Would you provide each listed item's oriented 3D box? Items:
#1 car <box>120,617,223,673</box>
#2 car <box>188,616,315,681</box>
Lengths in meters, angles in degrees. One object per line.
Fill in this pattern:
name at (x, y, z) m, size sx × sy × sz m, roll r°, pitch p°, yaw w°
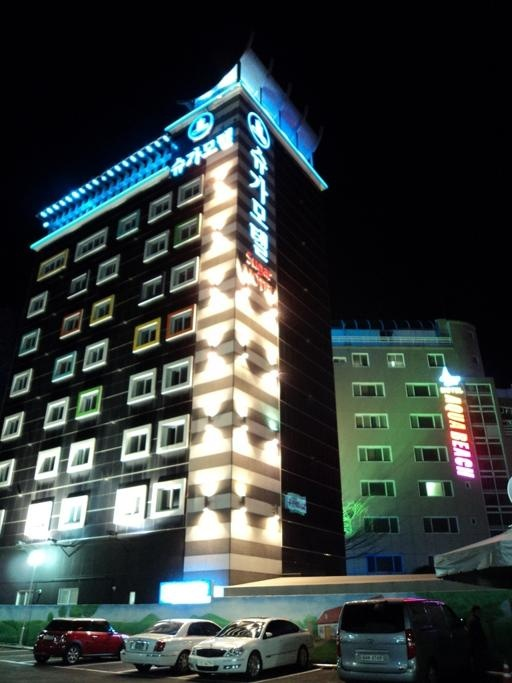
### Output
car at (-2.544, 10.110, 18.057) m, size 1.455 × 1.195 × 3.608 m, roll -12°, pitch -23°, yaw 26°
car at (0.070, 8.912, 16.248) m, size 1.664 × 1.291 × 3.927 m, roll -20°, pitch -33°, yaw 33°
